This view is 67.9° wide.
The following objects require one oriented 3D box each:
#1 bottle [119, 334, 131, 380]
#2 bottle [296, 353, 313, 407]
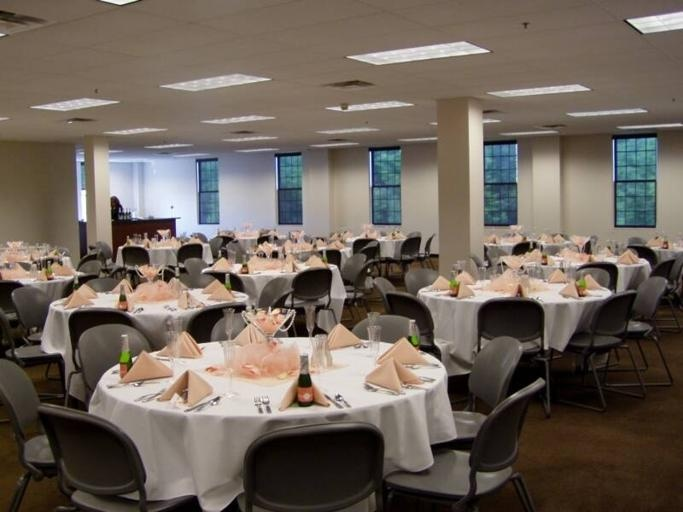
[{"bbox_3d":[-1.297,0.591,3.054,0.067,0.247,0.338,0,-3,-23],"label":"bottle"},{"bbox_3d":[-0.179,0.614,2.532,0.086,0.258,0.112,0,-2,-16],"label":"bottle"}]
